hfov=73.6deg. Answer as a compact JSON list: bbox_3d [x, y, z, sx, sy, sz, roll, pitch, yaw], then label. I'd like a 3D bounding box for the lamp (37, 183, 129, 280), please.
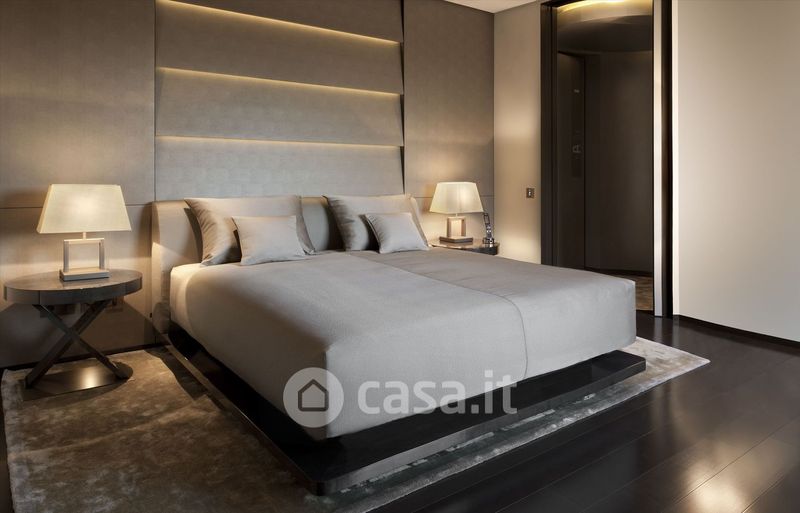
[{"bbox_3d":[-2.554,-0.225,4.372,0.611,0.749,0.550,-9,14,-22],"label":"lamp"}]

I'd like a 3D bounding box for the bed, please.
[{"bbox_3d":[-0.536,0.518,4.127,2.482,1.068,2.567,-3,5,-34],"label":"bed"}]

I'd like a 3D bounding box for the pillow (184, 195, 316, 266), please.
[{"bbox_3d":[-1.331,-0.266,4.899,1.123,0.598,0.430,-7,8,-35],"label":"pillow"}]
